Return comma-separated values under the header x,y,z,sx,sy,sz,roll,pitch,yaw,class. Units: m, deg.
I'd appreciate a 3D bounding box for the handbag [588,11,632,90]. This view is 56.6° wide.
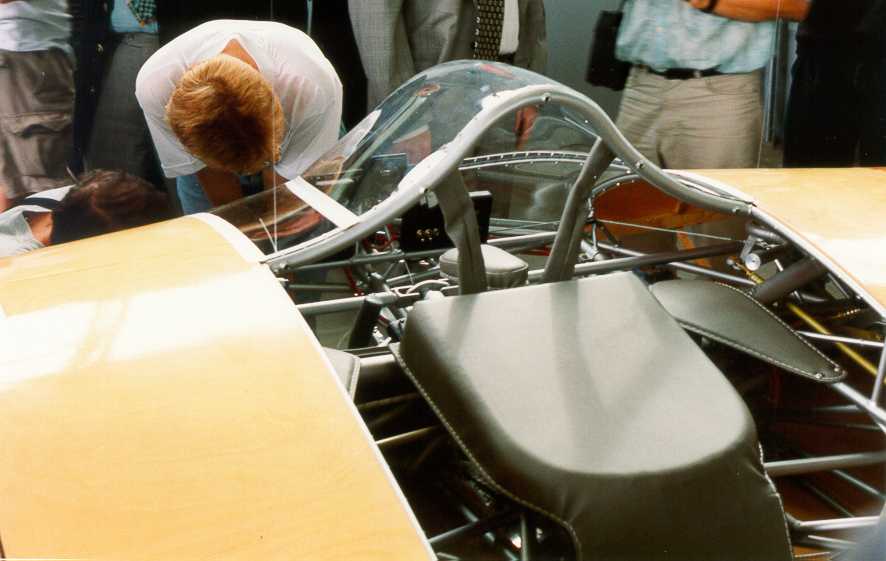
x,y,z,sx,sy,sz,roll,pitch,yaw,class
0.612,-0.847,3.070,0.173,0.249,0.057,17,6,34,handbag
